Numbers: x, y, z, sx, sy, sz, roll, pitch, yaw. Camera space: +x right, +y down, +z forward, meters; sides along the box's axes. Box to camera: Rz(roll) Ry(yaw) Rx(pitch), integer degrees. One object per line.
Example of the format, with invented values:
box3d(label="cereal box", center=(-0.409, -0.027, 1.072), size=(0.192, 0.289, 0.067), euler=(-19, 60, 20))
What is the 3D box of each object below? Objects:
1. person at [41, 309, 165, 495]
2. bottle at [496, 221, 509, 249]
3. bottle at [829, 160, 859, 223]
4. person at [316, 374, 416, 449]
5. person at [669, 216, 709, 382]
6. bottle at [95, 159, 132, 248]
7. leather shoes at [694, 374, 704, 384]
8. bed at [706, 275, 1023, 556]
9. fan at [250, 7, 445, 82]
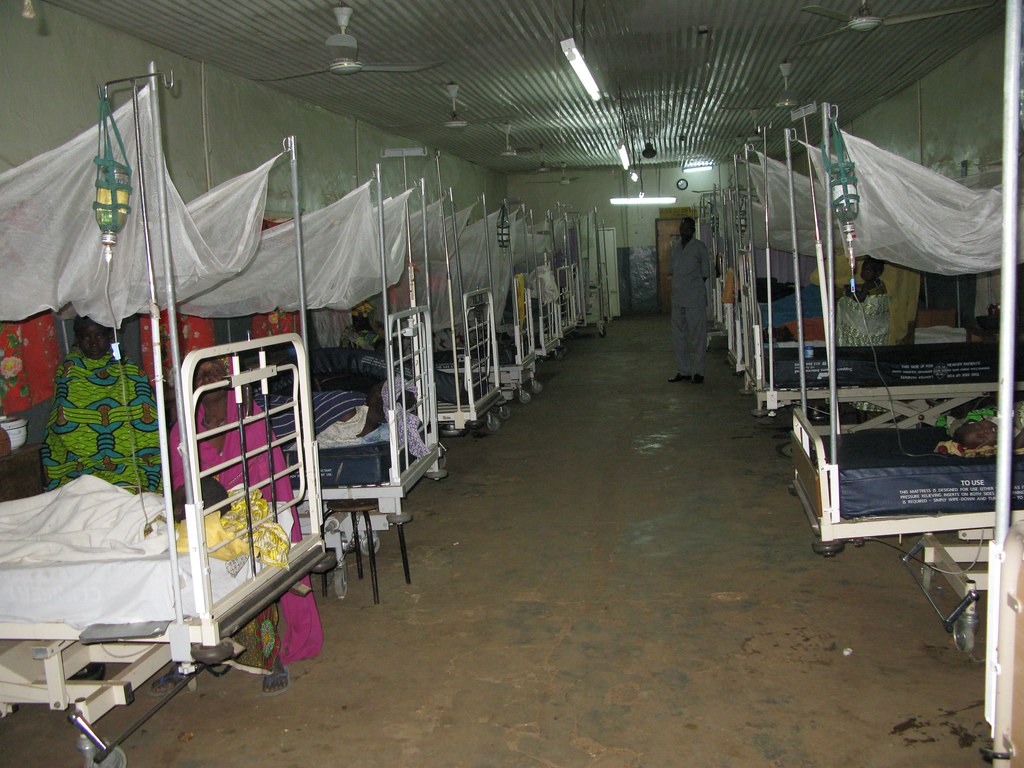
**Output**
box3d(label="person", center=(-2.770, 0.152, 5.555), size=(0.748, 1.360, 0.198), euler=(-5, 37, -29))
box3d(label="bottle", center=(-0.124, -1.849, 10.486), size=(0.145, 0.313, 0.326), euler=(-1, 14, 11))
box3d(label="bottle", center=(1.825, -1.050, 4.567), size=(0.143, 0.338, 0.356), euler=(2, 15, 20))
box3d(label="person", center=(-1.179, 0.117, 6.006), size=(0.534, 0.276, 0.711), euler=(5, 22, -14))
box3d(label="person", center=(2.286, -1.034, 10.705), size=(0.455, 2.140, 0.619), euler=(-1, 14, 11))
box3d(label="bottle", center=(-1.792, -0.828, 3.753), size=(0.171, 0.387, 0.284), euler=(-10, 15, -24))
box3d(label="leather shoes", center=(2.443, -0.052, 10.838), size=(0.109, 0.081, 0.103), euler=(-3, 10, -19))
box3d(label="bed", center=(2.107, 0.279, 5.157), size=(1.484, 0.420, 1.540), euler=(-3, 19, 1))
box3d(label="fan", center=(-1.557, -3.195, 7.748), size=(1.160, 0.443, 1.127), euler=(-1, 6, -10))
